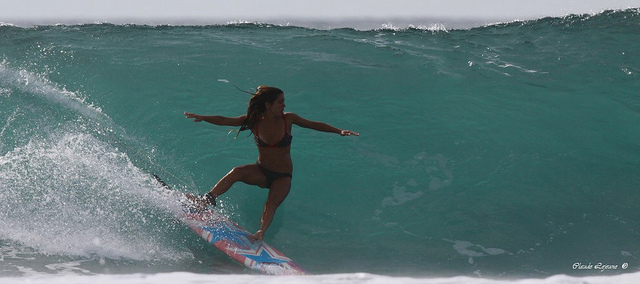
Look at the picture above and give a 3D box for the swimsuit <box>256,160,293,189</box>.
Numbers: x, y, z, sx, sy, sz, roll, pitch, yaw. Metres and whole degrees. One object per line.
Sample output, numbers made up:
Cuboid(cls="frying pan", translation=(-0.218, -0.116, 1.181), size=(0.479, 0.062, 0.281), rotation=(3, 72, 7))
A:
Cuboid(cls="swimsuit", translation=(-1.964, 1.402, 25.756), size=(1.429, 1.026, 0.651), rotation=(1, 32, 10))
